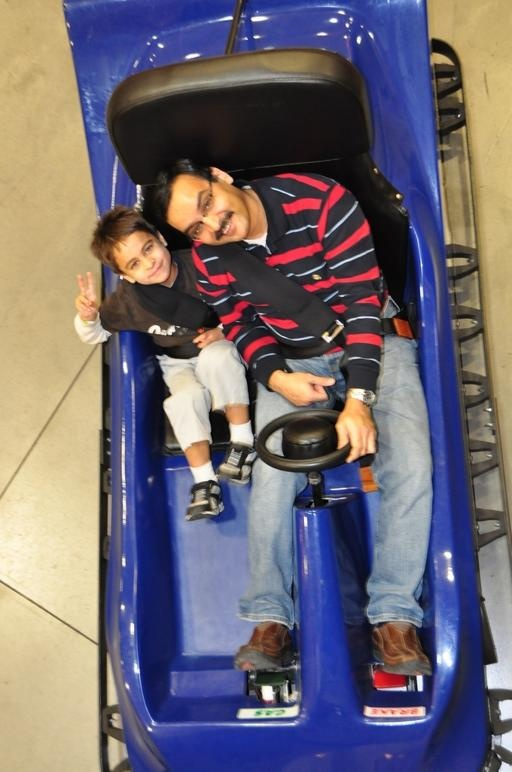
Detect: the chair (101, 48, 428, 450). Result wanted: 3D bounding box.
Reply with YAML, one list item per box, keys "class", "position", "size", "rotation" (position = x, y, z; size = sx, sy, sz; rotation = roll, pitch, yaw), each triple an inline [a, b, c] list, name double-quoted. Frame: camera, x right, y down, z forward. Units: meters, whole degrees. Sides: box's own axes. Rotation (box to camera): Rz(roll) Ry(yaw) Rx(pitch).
- class: "chair"
  position: [-0.006, -0.308, 1.140]
  size: [0.289, 0.404, 0.397]
  rotation: [-3, 51, 13]

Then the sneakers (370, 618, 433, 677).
- class: "sneakers"
  position: [0.237, 0.434, 1.141]
  size: [0.048, 0.132, 0.093]
  rotation: [-10, 74, -15]

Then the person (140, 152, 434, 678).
- class: "person"
  position: [0.080, -0.003, 1.290]
  size: [0.456, 0.392, 0.956]
  rotation: [-6, 78, 18]

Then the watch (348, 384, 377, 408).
- class: "watch"
  position: [0.191, 0.017, 1.204]
  size: [0.037, 0.034, 0.014]
  rotation: [24, 91, -11]

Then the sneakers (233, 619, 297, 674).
- class: "sneakers"
  position: [0.014, 0.457, 1.216]
  size: [0.100, 0.115, 0.084]
  rotation: [-11, 80, 0]

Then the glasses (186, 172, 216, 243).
- class: "glasses"
  position: [-0.092, -0.297, 1.196]
  size: [0.031, 0.066, 0.089]
  rotation: [16, 56, -5]
